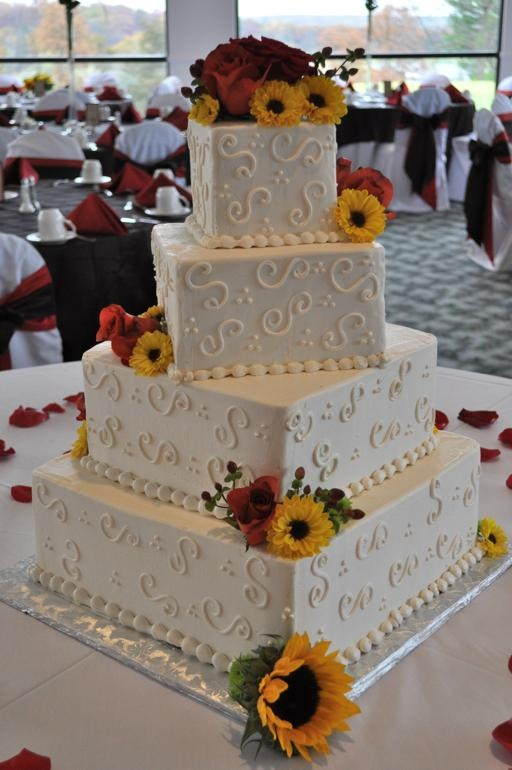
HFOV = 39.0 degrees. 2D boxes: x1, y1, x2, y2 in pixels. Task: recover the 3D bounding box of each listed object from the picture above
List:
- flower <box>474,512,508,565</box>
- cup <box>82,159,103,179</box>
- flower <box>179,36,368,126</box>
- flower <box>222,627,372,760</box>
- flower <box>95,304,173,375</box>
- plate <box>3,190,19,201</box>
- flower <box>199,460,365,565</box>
[{"bbox_3d":[0.631,0.413,1.936,0.101,0.036,0.089,-3,62,-16],"label":"flower"},{"bbox_3d":[-1.080,-1.406,4.745,0.153,0.124,0.131,9,23,12],"label":"cup"},{"bbox_3d":[0.019,-0.604,1.442,0.327,0.166,0.158,-3,22,-5],"label":"flower"},{"bbox_3d":[0.055,0.538,1.269,0.230,0.203,0.097,1,-9,-36],"label":"flower"},{"bbox_3d":[-0.261,-0.104,1.611,0.180,0.159,0.099,0,10,6],"label":"flower"},{"bbox_3d":[-1.485,-1.142,4.376,0.111,0.013,0.100,1,34,0],"label":"plate"},{"bbox_3d":[0.061,0.227,1.354,0.281,0.115,0.176,-11,44,6],"label":"flower"}]
